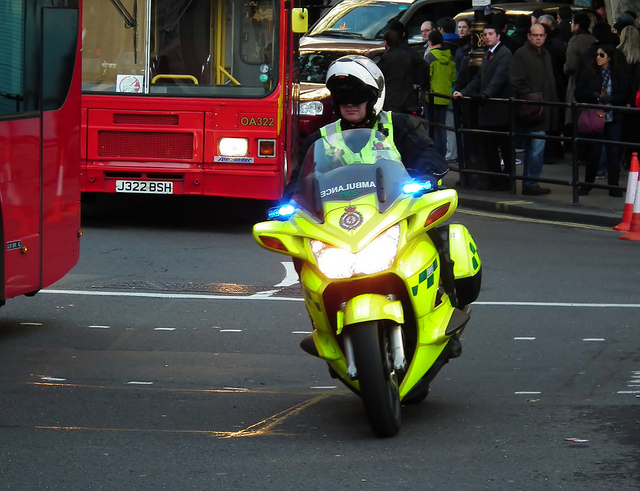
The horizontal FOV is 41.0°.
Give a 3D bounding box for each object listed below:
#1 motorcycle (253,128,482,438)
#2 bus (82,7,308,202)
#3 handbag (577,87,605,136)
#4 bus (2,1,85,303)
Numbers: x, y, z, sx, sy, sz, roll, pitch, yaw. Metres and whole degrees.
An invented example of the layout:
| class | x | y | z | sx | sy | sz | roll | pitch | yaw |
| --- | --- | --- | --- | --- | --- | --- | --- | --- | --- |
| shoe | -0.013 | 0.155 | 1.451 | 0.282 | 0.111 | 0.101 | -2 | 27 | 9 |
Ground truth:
| class | x | y | z | sx | sy | sz | roll | pitch | yaw |
| --- | --- | --- | --- | --- | --- | --- | --- | --- | --- |
| motorcycle | 0.279 | 0.194 | 4.815 | 0.882 | 1.626 | 1.081 | 13 | 19 | 37 |
| bus | -1.713 | -2.117 | 11.923 | 2.437 | 1.901 | 3.733 | 0 | 0 | 9 |
| handbag | 4.179 | -1.892 | 13.201 | 0.372 | 0.432 | 0.236 | 9 | 16 | 26 |
| bus | -2.333 | -0.836 | 6.978 | 0.458 | 2.223 | 1.551 | 2 | 15 | 3 |
